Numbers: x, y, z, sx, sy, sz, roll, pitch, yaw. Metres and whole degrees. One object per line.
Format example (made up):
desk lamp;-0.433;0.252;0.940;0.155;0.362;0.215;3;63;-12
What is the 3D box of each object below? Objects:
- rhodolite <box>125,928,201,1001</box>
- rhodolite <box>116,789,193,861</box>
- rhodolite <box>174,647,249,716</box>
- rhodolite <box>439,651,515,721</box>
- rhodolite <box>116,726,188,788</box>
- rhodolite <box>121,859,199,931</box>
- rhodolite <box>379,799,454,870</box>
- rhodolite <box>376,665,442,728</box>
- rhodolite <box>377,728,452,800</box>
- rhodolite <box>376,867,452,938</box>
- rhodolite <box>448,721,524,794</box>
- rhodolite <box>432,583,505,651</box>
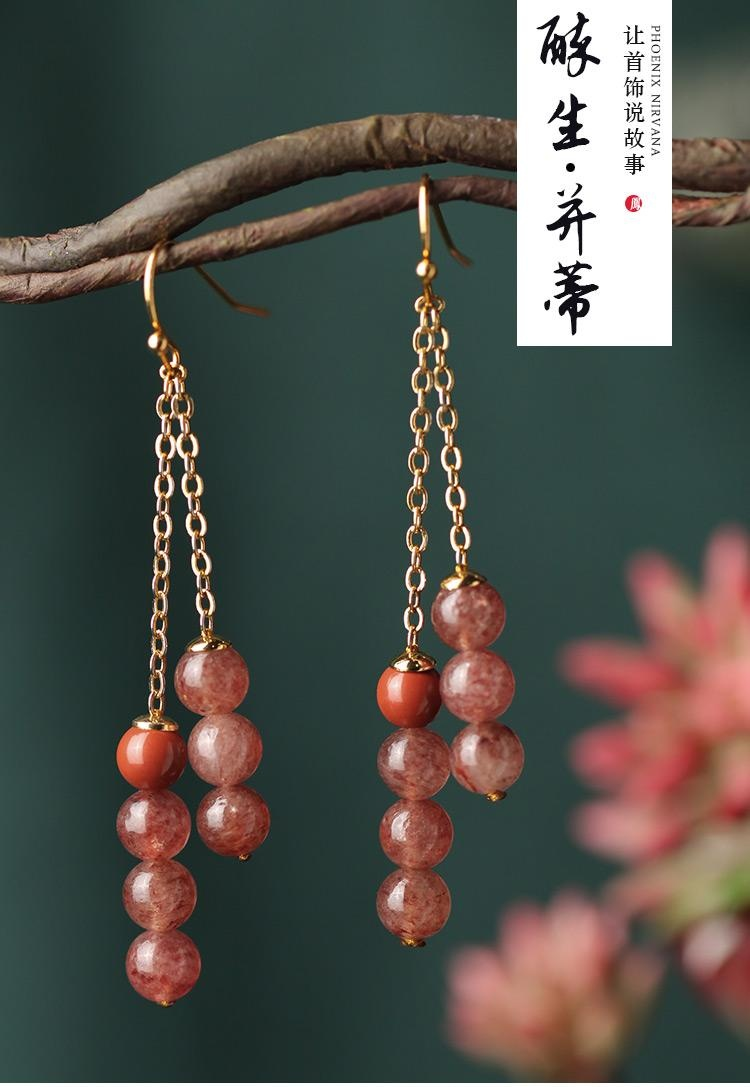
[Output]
rhodolite;-0.183;0.355;0.993;0.058;0.066;0.052;7;-54;-17
rhodolite;-0.189;0.244;1.014;0.068;0.062;0.068;3;-81;1
rhodolite;-0.142;0.117;1.028;0.078;0.072;0.070;-2;-85;-10
rhodolite;0.085;0.118;0.963;0.066;0.059;0.066;1;-106;-21
rhodolite;-0.186;0.178;0.990;0.061;0.056;0.060;0;-95;-1
rhodolite;-0.180;0.296;0.986;0.067;0.062;0.066;1;-99;-10
rhodolite;0.032;0.241;0.996;0.065;0.061;0.064;2;-87;-7
rhodolite;0.030;0.129;0.979;0.057;0.053;0.057;0;-90;-5
rhodolite;0.036;0.187;1.008;0.062;0.061;0.065;-1;-72;19
rhodolite;0.035;0.311;1.007;0.067;0.065;0.066;3;-102;-27
rhodolite;0.093;0.175;0.964;0.061;0.062;0.060;1;-94;4
rhodolite;0.078;0.066;0.986;0.063;0.059;0.063;-4;-97;3
